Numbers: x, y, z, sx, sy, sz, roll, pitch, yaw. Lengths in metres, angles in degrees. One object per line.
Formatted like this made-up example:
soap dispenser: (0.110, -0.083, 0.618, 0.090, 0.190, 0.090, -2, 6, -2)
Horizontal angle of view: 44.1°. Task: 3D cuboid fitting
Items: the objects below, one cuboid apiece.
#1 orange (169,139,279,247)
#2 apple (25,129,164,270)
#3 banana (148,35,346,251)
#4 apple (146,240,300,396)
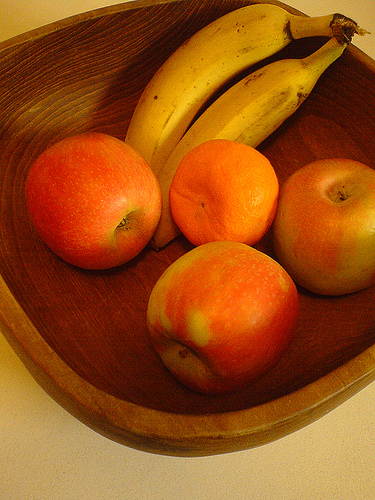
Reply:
orange: (0.066, -0.089, 0.745, 0.164, 0.143, 0.166, -2, -3, 44)
apple: (-0.147, -0.081, 0.748, 0.217, 0.189, 0.210, 8, 8, 29)
banana: (0.094, -0.183, 0.773, 0.436, 0.093, 0.152, -43, -5, 1)
apple: (0.048, 0.095, 0.640, 0.180, 0.187, 0.163, 22, 45, 31)
